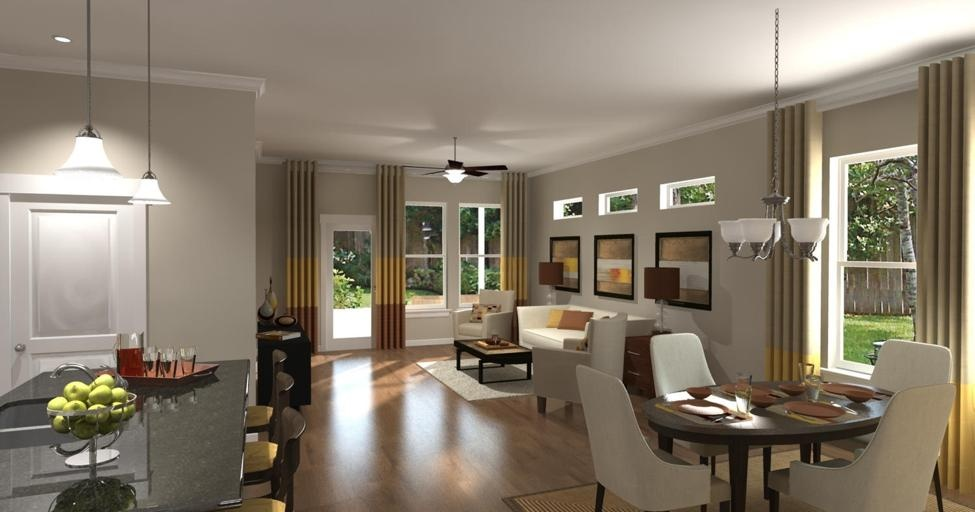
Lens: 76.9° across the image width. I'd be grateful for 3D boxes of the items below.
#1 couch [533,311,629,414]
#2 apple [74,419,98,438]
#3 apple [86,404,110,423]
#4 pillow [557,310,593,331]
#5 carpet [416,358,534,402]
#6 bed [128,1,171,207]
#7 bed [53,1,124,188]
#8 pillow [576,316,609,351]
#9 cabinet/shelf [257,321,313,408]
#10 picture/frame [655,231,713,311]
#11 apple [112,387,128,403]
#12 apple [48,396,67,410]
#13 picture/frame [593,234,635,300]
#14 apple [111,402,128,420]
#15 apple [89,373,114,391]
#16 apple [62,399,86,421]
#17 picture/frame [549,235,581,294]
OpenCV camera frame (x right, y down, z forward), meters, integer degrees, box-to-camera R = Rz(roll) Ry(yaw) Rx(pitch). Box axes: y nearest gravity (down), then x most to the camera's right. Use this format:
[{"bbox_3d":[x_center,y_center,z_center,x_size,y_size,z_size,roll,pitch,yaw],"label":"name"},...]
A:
[{"bbox_3d":[1.377,1.490,9.130,1.449,1.573,1.287,-1,-4,45],"label":"couch"},{"bbox_3d":[-3.161,1.359,4.818,0.170,0.140,0.166,0,-4,41],"label":"apple"},{"bbox_3d":[-3.061,1.237,4.819,0.156,0.129,0.130,1,3,3],"label":"apple"},{"bbox_3d":[1.532,1.128,10.719,0.579,0.317,0.156,0,-28,48],"label":"pillow"},{"bbox_3d":[-0.122,1.947,9.861,1.415,0.148,2.032,-4,12,-23],"label":"carpet"},{"bbox_3d":[-3.717,-1.545,6.565,0.395,2.113,1.406,-7,15,-28],"label":"bed"},{"bbox_3d":[-4.081,-1.605,6.112,0.516,1.809,2.191,-8,15,-32],"label":"bed"},{"bbox_3d":[1.442,1.108,8.736,0.550,0.437,0.539,-2,-2,15],"label":"pillow"},{"bbox_3d":[-2.598,1.397,7.799,0.405,0.566,1.280,-1,2,-20],"label":"cabinet/shelf"},{"bbox_3d":[2.963,0.245,9.159,0.109,1.419,1.387,2,-1,-32],"label":"picture/frame"},{"bbox_3d":[-2.985,1.118,4.966,0.097,0.123,0.115,-5,14,-22],"label":"apple"},{"bbox_3d":[-3.404,1.163,4.871,0.118,0.071,0.139,-1,0,4],"label":"apple"},{"bbox_3d":[2.191,0.180,10.490,0.116,1.403,1.313,3,-2,-33],"label":"picture/frame"},{"bbox_3d":[-2.931,1.235,4.900,0.131,0.103,0.125,1,-3,34],"label":"apple"},{"bbox_3d":[-3.137,1.025,5.004,0.142,0.083,0.163,-9,-4,14],"label":"apple"},{"bbox_3d":[-3.240,1.196,4.818,0.171,0.142,0.144,0,11,6],"label":"apple"},{"bbox_3d":[1.482,0.177,11.598,0.106,1.275,1.248,3,-3,-25],"label":"picture/frame"}]
